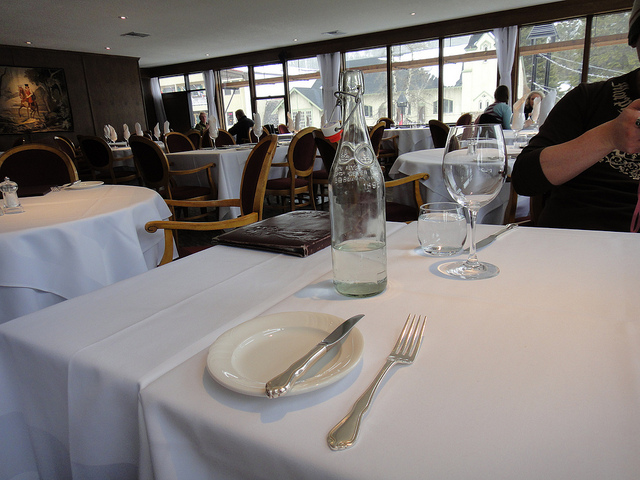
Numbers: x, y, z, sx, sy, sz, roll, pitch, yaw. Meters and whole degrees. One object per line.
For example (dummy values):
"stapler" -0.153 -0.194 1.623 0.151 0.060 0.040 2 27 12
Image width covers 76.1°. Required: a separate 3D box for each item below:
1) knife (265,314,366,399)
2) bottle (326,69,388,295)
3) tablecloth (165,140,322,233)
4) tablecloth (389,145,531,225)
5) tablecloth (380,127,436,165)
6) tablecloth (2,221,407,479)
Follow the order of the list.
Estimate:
"knife" 0.012 0.114 0.531 0.037 0.021 0.263 1 12 27
"bottle" 0.055 -0.066 0.664 0.086 0.398 0.085 0 12 0
"tablecloth" -1.033 -0.567 4.274 1.423 0.976 0.632 5 10 45
"tablecloth" 0.708 -0.381 2.380 0.574 0.239 0.619 3 18 35
"tablecloth" 1.413 -1.375 6.594 0.751 0.512 0.783 8 23 31
"tablecloth" -0.217 0.113 0.748 0.320 0.148 0.541 2 8 28
